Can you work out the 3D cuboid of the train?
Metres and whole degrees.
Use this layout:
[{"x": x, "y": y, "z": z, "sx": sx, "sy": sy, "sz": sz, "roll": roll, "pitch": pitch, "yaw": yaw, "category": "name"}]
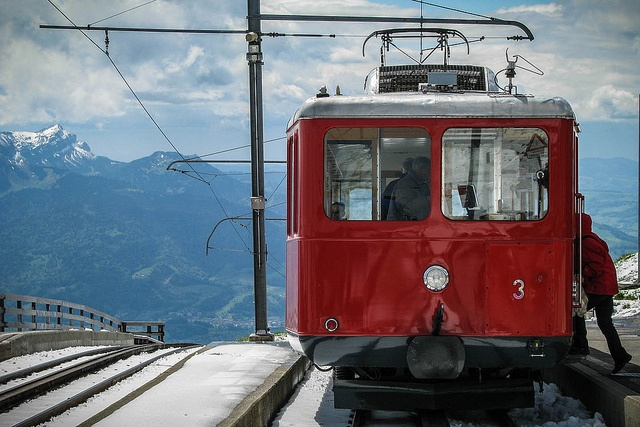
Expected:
[{"x": 1.517, "y": 0.370, "z": 9.690, "sx": 3.888, "sy": 5.105, "sz": 1.174, "roll": -10, "pitch": -1, "yaw": -4, "category": "train"}]
